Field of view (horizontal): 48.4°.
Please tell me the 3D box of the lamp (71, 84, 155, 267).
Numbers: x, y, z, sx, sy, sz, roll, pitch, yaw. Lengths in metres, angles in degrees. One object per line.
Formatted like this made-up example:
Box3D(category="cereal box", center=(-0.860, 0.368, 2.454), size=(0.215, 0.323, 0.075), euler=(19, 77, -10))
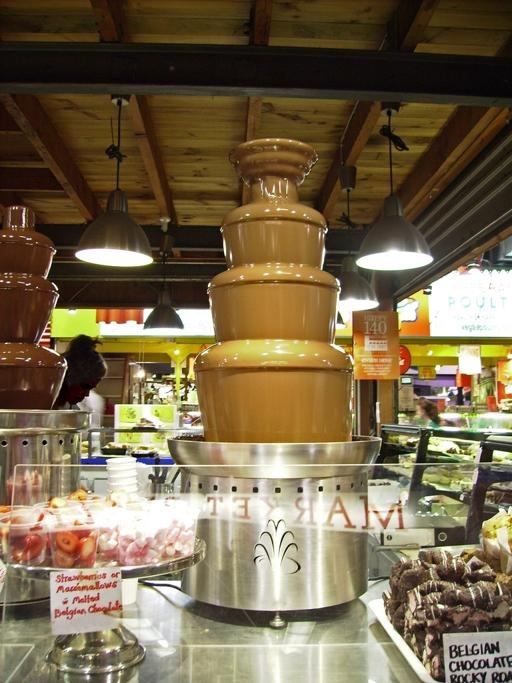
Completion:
Box3D(category="lamp", center=(-0.908, -0.945, 3.624), size=(0.437, 0.932, 1.395), euler=(-2, -1, -11))
